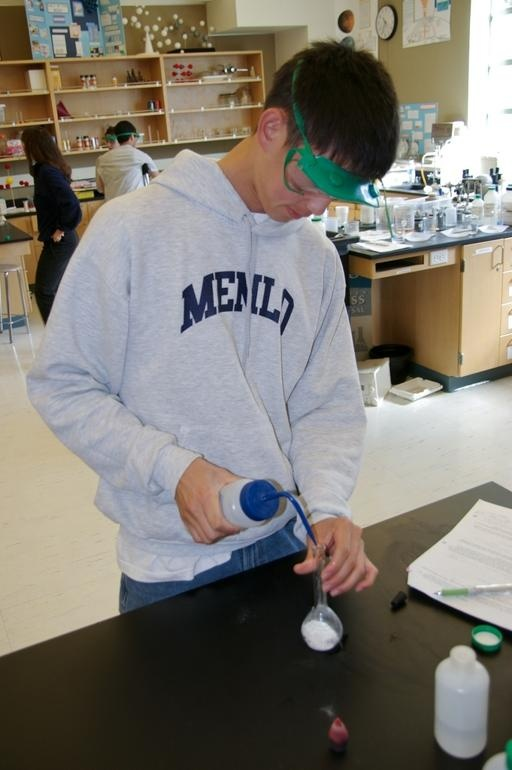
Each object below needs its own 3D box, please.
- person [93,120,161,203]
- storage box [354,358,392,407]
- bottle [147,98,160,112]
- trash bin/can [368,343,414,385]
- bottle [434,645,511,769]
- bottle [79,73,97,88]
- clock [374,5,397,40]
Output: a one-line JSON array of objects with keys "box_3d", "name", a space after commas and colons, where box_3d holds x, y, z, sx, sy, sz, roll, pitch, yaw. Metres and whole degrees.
[{"box_3d": [-1.225, -1.959, 5.566, 0.546, 1.053, 0.579, 9, 26, 14], "name": "person"}, {"box_3d": [0.681, -0.006, 3.322, 0.148, 0.171, 0.268, 2, 38, 15], "name": "storage box"}, {"box_3d": [-1.266, -3.449, 7.132, 0.125, 0.188, 0.179, 12, 47, 7], "name": "bottle"}, {"box_3d": [0.958, -0.186, 4.098, 0.290, 0.222, 0.293, -7, 22, -13], "name": "trash bin/can"}, {"box_3d": [0.237, 0.347, 0.642, 0.086, 0.117, 0.052, -10, 19, -14], "name": "bottle"}, {"box_3d": [-1.949, -3.513, 6.720, 0.207, 0.111, 0.225, -1, 16, 0], "name": "bottle"}, {"box_3d": [1.449, -4.018, 6.430, 0.062, 0.355, 0.375, -10, 20, -14], "name": "clock"}]
